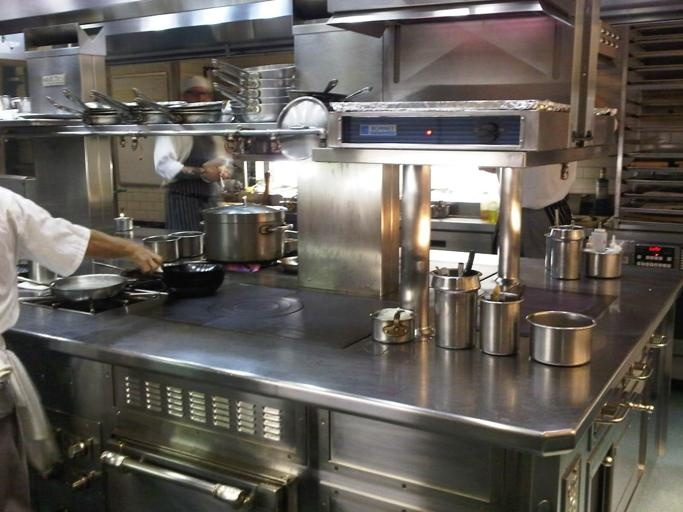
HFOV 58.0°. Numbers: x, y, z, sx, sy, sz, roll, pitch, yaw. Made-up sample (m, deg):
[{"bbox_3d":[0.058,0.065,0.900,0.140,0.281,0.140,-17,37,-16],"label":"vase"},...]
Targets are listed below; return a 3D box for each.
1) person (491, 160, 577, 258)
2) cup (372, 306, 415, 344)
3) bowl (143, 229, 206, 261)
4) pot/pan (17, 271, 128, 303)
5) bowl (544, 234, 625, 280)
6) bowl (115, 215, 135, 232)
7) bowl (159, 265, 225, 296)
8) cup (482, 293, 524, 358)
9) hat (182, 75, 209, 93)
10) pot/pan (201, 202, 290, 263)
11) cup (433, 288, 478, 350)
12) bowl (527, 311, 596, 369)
[{"bbox_3d":[1.376,-0.252,4.251,0.365,0.729,2.431,5,8,20],"label":"person"},{"bbox_3d":[0.192,0.263,2.272,0.189,0.101,0.184,1,2,0],"label":"cup"},{"bbox_3d":[-0.906,-0.052,3.374,0.296,0.081,0.176,1,6,32],"label":"bowl"},{"bbox_3d":[-1.128,0.147,2.702,0.336,0.035,0.180,-3,11,-22],"label":"pot/pan"},{"bbox_3d":[1.222,0.009,3.111,0.369,0.204,0.244,3,9,16],"label":"bowl"},{"bbox_3d":[-1.483,-0.218,4.220,0.135,0.098,0.121,-3,11,-25],"label":"bowl"},{"bbox_3d":[-0.717,0.110,2.871,0.295,0.094,0.249,4,15,18],"label":"bowl"},{"bbox_3d":[0.572,0.235,2.141,0.190,0.214,0.103,-3,11,-21],"label":"cup"},{"bbox_3d":[-1.192,-1.392,4.997,0.193,0.079,0.160,-4,19,-9],"label":"hat"},{"bbox_3d":[-0.547,-0.131,3.290,0.495,0.261,0.402,-1,10,-9],"label":"pot/pan"},{"bbox_3d":[0.401,0.221,2.186,0.152,0.218,0.070,2,11,5],"label":"cup"},{"bbox_3d":[0.751,0.276,2.094,0.229,0.111,0.202,2,15,19],"label":"bowl"}]
